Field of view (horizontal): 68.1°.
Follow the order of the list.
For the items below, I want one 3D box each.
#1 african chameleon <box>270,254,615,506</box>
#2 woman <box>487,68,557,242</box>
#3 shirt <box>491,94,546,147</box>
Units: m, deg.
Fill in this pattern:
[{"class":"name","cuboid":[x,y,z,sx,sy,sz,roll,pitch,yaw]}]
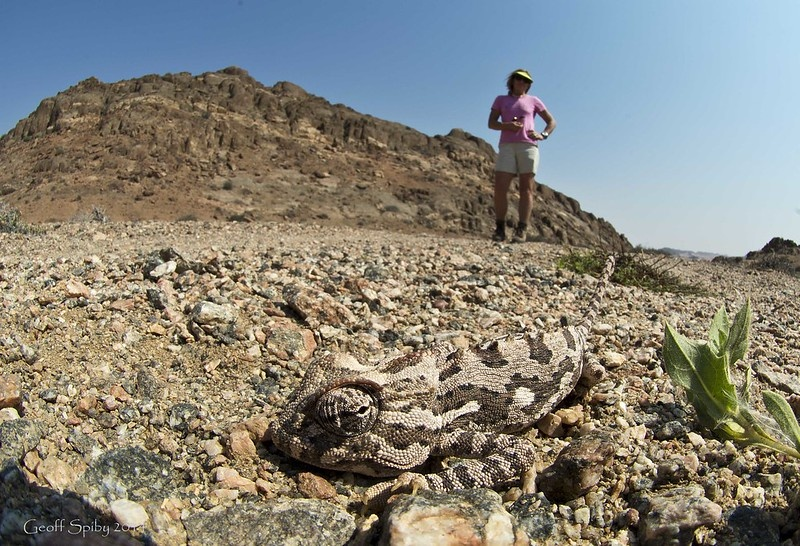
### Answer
[{"class":"african chameleon","cuboid":[0.316,1.003,4.363,2.408,1.280,0.662,5,-8,-17]},{"class":"woman","cuboid":[2.006,-2.040,9.790,1.233,2.920,0.735,0,-6,18]},{"class":"shirt","cuboid":[1.893,-2.558,9.699,0.828,0.803,0.454,4,6,12]}]
